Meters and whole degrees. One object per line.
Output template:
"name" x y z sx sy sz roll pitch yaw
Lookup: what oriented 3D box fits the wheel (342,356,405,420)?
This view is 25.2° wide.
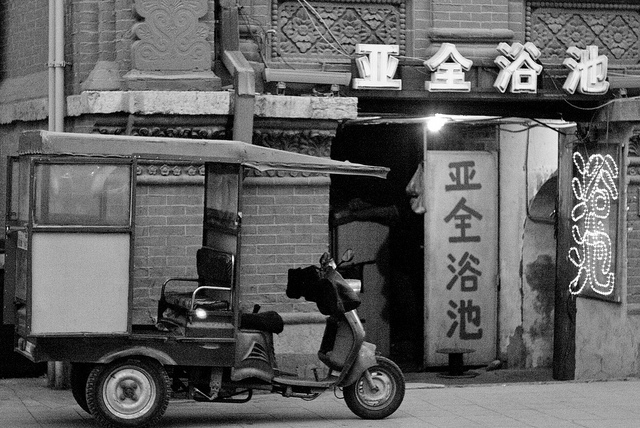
"wheel" 0.644 2.180 17.786 0.598 0.587 0.213 -36 -2 -10

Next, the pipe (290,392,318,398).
"pipe" -0.206 2.247 17.657 0.325 0.067 0.111 2 -4 -10
